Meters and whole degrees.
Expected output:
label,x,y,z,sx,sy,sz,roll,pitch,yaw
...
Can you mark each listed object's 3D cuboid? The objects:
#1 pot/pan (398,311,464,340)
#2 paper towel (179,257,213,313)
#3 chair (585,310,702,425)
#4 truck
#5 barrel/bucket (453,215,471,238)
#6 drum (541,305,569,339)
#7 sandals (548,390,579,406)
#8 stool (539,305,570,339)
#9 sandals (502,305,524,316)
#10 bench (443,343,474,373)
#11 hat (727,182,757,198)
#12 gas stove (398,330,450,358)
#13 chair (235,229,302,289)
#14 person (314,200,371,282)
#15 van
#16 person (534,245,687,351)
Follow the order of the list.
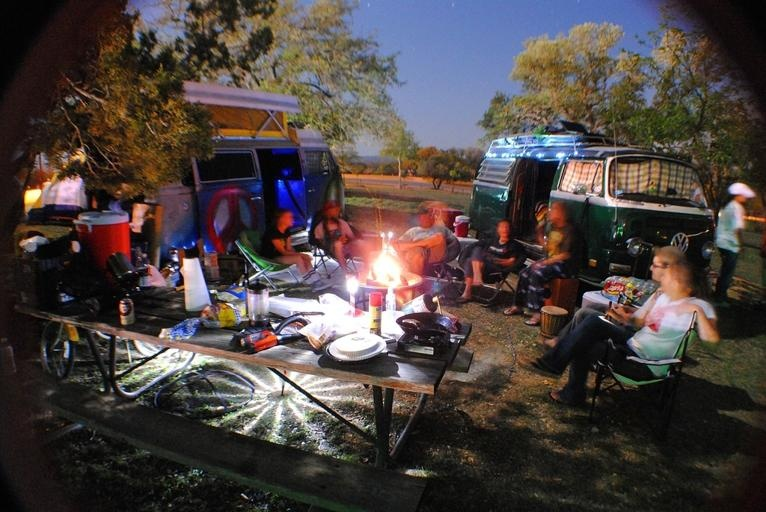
label,x,y,z,sx,sy,sz,roll,pitch,yaw
pot/pan,0.415,0.644,4.497,0.393,0.080,0.327,4,12,27
paper towel,-1.995,0.268,4.940,0.267,0.620,0.269,-6,8,-1
chair,3.033,1.289,5.467,0.909,1.239,0.945,11,9,27
truck,-3.447,-1.726,10.473,2.383,3.519,7.021,6,12,17
barrel/bucket,1.900,-0.727,11.119,0.501,0.629,0.485,-1,4,0
drum,2.605,1.048,7.194,0.379,0.401,0.380,13,4,22
sandals,2.213,1.733,5.711,0.296,0.116,0.138,6,14,40
stool,2.600,1.028,7.204,0.422,0.420,0.404,5,15,-10
sandals,2.217,0.925,7.963,0.324,0.194,0.150,3,10,11
bench,0.724,0.999,4.470,0.279,0.065,0.301,6,25,22
hat,6.282,-1.152,8.158,0.426,0.267,0.306,-4,10,-45
gas stove,0.381,0.801,4.365,0.501,0.246,0.158,3,7,0
chair,-1.953,-0.113,8.014,1.017,0.901,1.128,-9,10,15
person,-0.827,-0.269,8.862,0.996,1.656,0.855,-9,1,16
van,4.154,-1.167,9.966,2.852,2.946,5.114,-2,13,-17
person,3.029,0.585,6.215,2.338,1.286,0.692,-8,27,-25
